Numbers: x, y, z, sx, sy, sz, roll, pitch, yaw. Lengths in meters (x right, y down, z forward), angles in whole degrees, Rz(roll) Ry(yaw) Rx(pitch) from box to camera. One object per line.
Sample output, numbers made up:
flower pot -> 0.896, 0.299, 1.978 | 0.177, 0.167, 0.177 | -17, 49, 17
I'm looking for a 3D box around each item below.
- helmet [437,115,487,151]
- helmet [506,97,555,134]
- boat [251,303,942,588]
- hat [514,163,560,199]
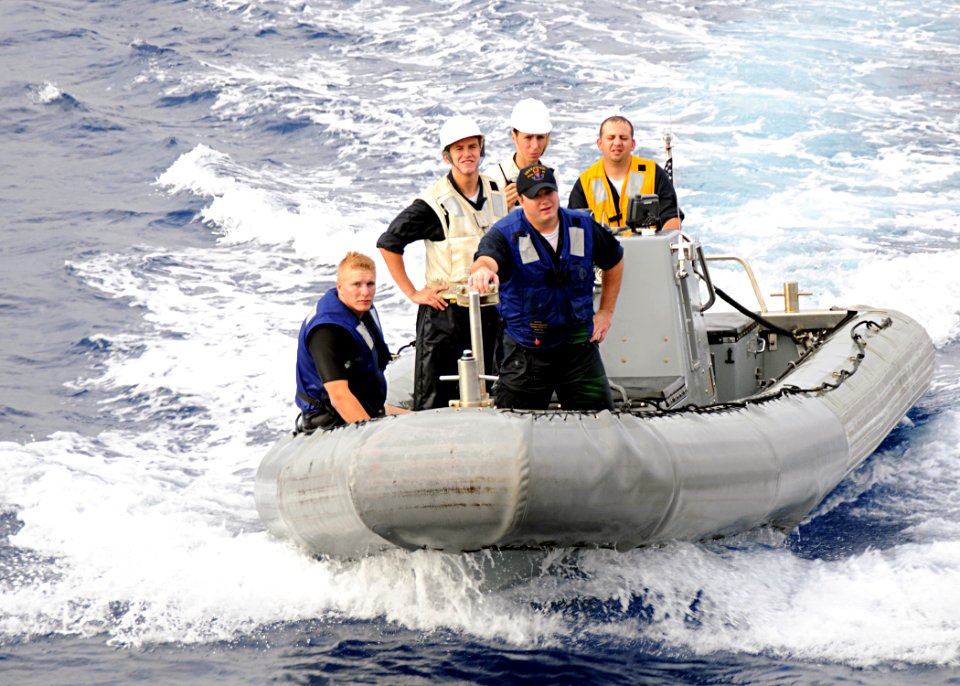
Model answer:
helmet -> -0.186, -1.692, 13.283 | 0.369, 0.298, 0.264 | 11, 37, 25
helmet -> 0.400, -1.857, 13.440 | 0.306, 0.257, 0.285 | -1, 33, 9
boat -> 1.047, 0.677, 12.865 | 3.965, 0.849, 2.157 | -7, -2, -29
hat -> 0.419, -1.249, 12.526 | 0.302, 0.219, 0.283 | -4, 32, 4
